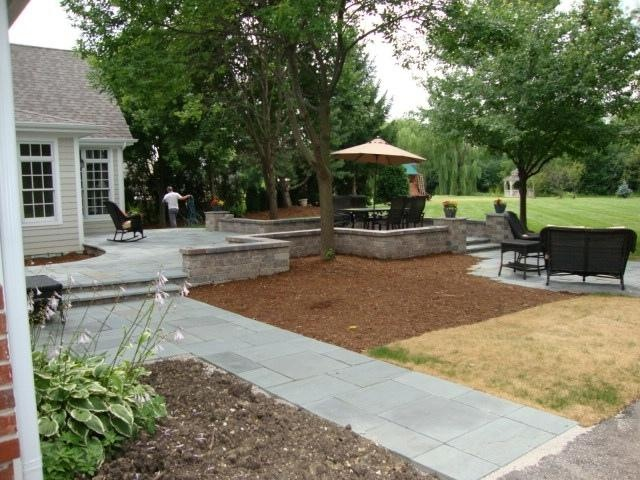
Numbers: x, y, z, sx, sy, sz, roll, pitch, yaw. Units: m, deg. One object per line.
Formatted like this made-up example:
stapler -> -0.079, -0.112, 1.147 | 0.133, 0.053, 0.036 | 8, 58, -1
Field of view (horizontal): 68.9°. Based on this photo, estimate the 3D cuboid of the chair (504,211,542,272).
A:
chair -> 5.402, 0.040, 12.446 | 1.043, 1.206, 2.144 | 0, 2, 29

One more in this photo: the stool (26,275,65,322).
stool -> -3.462, 0.734, 5.868 | 0.583, 0.375, 0.829 | -3, 6, -38

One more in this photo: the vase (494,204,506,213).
vase -> 6.557, -1.144, 16.938 | 0.334, 0.273, 0.343 | -2, 3, -8

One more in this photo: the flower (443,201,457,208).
flower -> 4.673, -1.301, 16.755 | 0.324, 0.157, 0.323 | 0, 0, -2

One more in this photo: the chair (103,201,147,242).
chair -> -6.468, -0.644, 15.955 | 1.767, 1.868, 1.190 | -2, 5, -29

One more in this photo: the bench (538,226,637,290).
bench -> 5.260, 0.216, 9.153 | 1.367, 0.919, 1.465 | 1, 4, 21

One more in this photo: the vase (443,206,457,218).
vase -> 4.703, -1.003, 16.816 | 0.484, 0.341, 0.485 | -1, 2, 2
